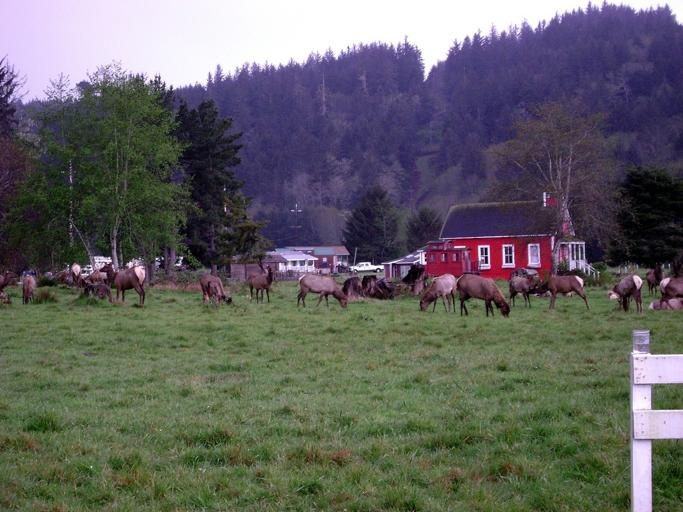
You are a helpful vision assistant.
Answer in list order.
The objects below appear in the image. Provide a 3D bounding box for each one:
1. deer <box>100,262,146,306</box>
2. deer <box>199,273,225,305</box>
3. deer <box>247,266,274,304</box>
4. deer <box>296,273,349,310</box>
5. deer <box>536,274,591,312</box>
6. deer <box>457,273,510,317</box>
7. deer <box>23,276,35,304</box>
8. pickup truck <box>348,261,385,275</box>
[{"bbox_3d":[-11.810,1.648,44.100,1.399,2.475,5.789,-5,11,-29],"label":"deer"},{"bbox_3d":[-7.221,1.928,45.497,1.221,1.646,3.395,-2,10,-16],"label":"deer"},{"bbox_3d":[-4.726,1.775,47.576,2.188,1.984,0.651,3,3,41],"label":"deer"},{"bbox_3d":[-1.094,1.957,45.207,2.673,1.796,3.120,-1,10,-4],"label":"deer"},{"bbox_3d":[11.601,1.849,41.987,2.211,1.811,2.004,1,9,8],"label":"deer"},{"bbox_3d":[7.072,2.073,40.069,3.040,2.143,0.925,10,14,38],"label":"deer"},{"bbox_3d":[-16.616,1.727,42.700,0.602,1.367,1.346,-3,10,-24],"label":"deer"},{"bbox_3d":[3.621,1.809,105.301,3.770,1.497,1.738,3,2,26],"label":"pickup truck"}]
